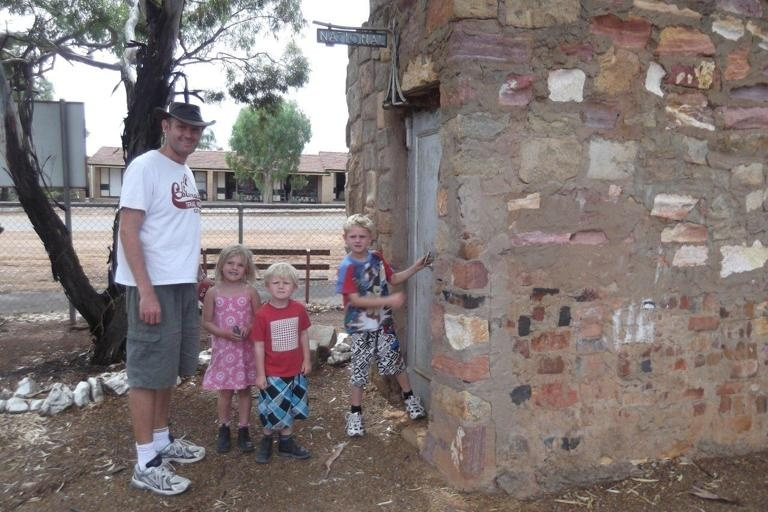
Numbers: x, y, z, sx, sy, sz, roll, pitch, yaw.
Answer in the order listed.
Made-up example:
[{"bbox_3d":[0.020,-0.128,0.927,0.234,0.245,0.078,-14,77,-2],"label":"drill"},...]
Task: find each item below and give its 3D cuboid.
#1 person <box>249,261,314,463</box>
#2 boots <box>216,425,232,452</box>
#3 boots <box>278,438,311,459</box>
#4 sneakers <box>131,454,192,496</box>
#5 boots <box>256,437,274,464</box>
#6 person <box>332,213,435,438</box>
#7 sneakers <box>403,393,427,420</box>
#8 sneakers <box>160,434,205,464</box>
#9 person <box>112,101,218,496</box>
[{"bbox_3d":[-0.791,0.910,5.302,0.429,1.235,0.357,0,8,-7],"label":"person"},{"bbox_3d":[-1.245,1.409,5.363,0.080,0.098,0.234,1,5,-11],"label":"boots"},{"bbox_3d":[-0.653,1.467,5.292,0.299,0.188,0.114,3,3,-4],"label":"boots"},{"bbox_3d":[-1.583,1.577,5.000,0.453,0.234,0.207,14,12,-4],"label":"sneakers"},{"bbox_3d":[-0.922,1.437,5.304,0.120,0.200,0.254,-1,8,-10],"label":"boots"},{"bbox_3d":[-0.026,0.545,5.620,0.717,1.788,0.774,0,8,-7],"label":"person"},{"bbox_3d":[0.250,1.252,5.752,0.108,0.116,0.252,-2,-4,-17],"label":"sneakers"},{"bbox_3d":[-1.520,1.453,5.226,0.334,0.147,0.155,0,7,-13],"label":"sneakers"},{"bbox_3d":[-1.603,0.266,5.041,0.549,2.774,0.671,4,9,24],"label":"person"}]
